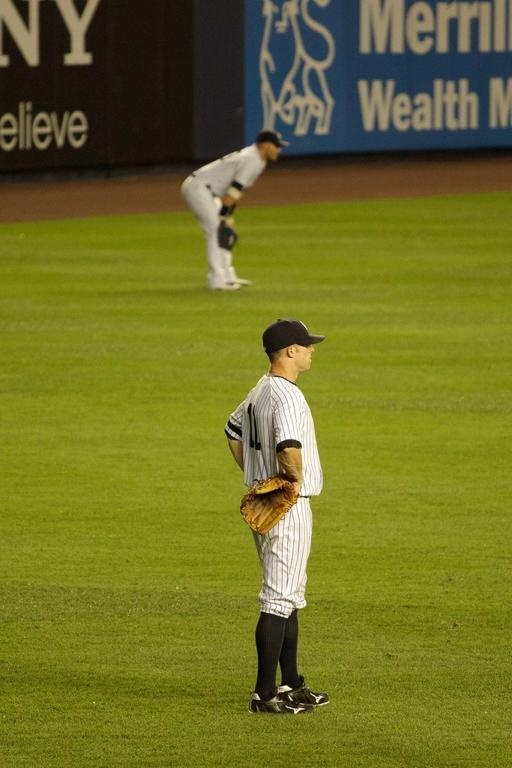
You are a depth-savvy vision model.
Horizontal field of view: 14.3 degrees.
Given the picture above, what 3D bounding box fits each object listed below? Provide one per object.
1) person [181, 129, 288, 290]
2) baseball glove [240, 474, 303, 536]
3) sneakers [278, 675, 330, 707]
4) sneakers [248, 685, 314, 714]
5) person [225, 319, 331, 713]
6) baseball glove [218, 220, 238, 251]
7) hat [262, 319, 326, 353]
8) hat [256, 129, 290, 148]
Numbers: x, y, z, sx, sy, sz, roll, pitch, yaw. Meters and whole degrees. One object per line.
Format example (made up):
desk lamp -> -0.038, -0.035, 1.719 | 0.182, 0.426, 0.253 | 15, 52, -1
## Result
person -> -0.248, -1.376, 15.914 | 0.660, 1.226, 0.804 | 0, 2, -43
baseball glove -> 0.058, 0.576, 9.562 | 0.257, 0.113, 0.397 | 4, 41, 25
sneakers -> 0.201, 1.487, 9.757 | 0.250, 0.202, 0.116 | 6, 2, -11
sneakers -> 0.106, 1.493, 9.684 | 0.262, 0.141, 0.117 | -1, 3, -4
person -> 0.094, 0.628, 9.650 | 0.476, 1.882, 0.420 | 1, 1, 5
baseball glove -> -0.265, -1.180, 15.907 | 0.177, 0.221, 0.129 | -8, 13, -37
hat -> 0.146, -0.241, 9.683 | 0.218, 0.157, 0.165 | -19, 11, -3
hat -> 0.073, -1.942, 15.873 | 0.170, 0.156, 0.385 | 1, 1, 6
